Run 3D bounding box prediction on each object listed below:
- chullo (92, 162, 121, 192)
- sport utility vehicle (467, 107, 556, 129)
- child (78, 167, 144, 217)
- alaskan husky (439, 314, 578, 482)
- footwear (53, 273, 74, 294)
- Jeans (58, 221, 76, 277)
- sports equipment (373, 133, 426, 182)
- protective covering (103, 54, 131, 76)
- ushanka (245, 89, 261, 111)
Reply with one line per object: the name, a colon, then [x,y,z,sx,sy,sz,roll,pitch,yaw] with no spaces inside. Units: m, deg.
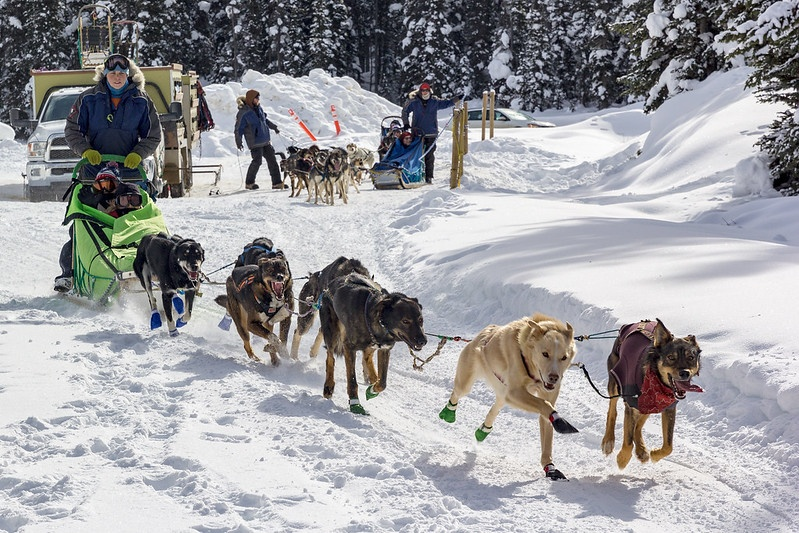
chullo: [-4.137,-1.230,11.732,0.323,0.410,0.456,-4,-23,-7]
sport utility vehicle: [4.552,-6.100,34.748,3.661,1.315,1.661,2,7,31]
child: [-4.256,-1.018,11.799,0.707,0.388,0.927,4,-14,-13]
alaskan husky: [1.253,1.361,8.986,1.348,1.635,0.463,7,18,41]
footwear: [-4.875,0.257,11.868,0.217,0.214,0.271,0,-10,2]
Jeans: [-4.881,-0.206,11.976,0.228,0.656,0.483,4,-15,-1]
sports equipment: [0.178,-2.885,22.546,0.994,1.270,1.491,2,10,33]
protective covering: [-4.074,-2.871,11.763,0.240,0.160,0.333,-5,5,-25]
ushanka: [-3.902,-4.353,21.497,0.383,0.439,0.338,-5,13,1]
